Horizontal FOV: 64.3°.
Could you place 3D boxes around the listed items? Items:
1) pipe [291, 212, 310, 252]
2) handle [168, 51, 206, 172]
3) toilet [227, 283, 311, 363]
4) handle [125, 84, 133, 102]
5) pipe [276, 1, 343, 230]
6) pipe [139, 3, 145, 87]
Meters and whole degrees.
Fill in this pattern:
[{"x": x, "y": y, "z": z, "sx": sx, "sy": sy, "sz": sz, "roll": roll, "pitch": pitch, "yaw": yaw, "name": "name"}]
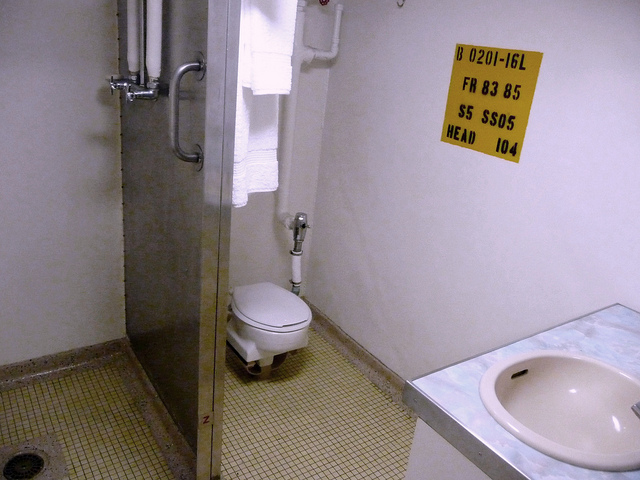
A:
[{"x": -0.107, "y": -0.053, "z": 2.838, "sx": 0.060, "sy": 0.166, "sz": 0.160, "roll": -5, "pitch": 40, "yaw": -18, "name": "pipe"}, {"x": -0.428, "y": -0.417, "z": 1.663, "sx": 0.092, "sy": 0.384, "sz": 0.155, "roll": -10, "pitch": 27, "yaw": -34, "name": "handle"}, {"x": -0.276, "y": 0.442, "z": 2.687, "sx": 0.391, "sy": 0.262, "sz": 0.496, "roll": -9, "pitch": 25, "yaw": -42, "name": "toilet"}, {"x": -0.702, "y": -0.545, "z": 1.882, "sx": 0.020, "sy": 0.050, "sz": 0.168, "roll": -4, "pitch": 25, "yaw": -22, "name": "handle"}, {"x": -0.072, "y": -0.638, "z": 2.744, "sx": 0.206, "sy": 1.196, "sz": 0.375, "roll": 13, "pitch": 23, "yaw": 17, "name": "pipe"}, {"x": -0.658, "y": -0.729, "z": 1.894, "sx": 0.024, "sy": 0.286, "sz": 0.074, "roll": -2, "pitch": 23, "yaw": -18, "name": "pipe"}]
